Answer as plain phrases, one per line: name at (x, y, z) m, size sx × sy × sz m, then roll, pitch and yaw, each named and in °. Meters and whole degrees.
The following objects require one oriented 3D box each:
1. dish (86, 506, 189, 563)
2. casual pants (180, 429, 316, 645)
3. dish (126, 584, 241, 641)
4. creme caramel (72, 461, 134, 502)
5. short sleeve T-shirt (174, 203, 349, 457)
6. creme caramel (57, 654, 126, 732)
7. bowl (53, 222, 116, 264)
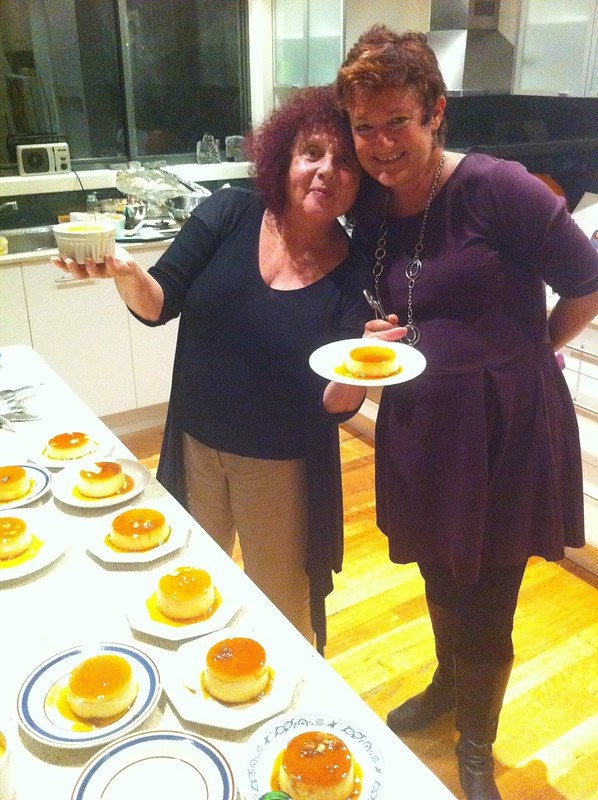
dish at (-0.295, 0.235, 1.149) m, size 0.168 × 0.020 × 0.177 m, roll -7°, pitch 33°, yaw -16°
casual pants at (-0.098, 0.262, 1.300) m, size 0.273 × 0.629 × 0.166 m, roll 27°, pitch 54°, yaw 26°
dish at (-0.179, 0.304, 0.927) m, size 0.081 × 0.012 × 0.078 m, roll 11°, pitch 22°, yaw 26°
creme caramel at (-0.396, 0.160, 1.280) m, size 0.079 × 0.026 × 0.081 m, roll 8°, pitch 27°, yaw 9°
short sleeve T-shirt at (-0.071, -0.148, 1.355) m, size 0.403 × 0.384 × 0.228 m, roll 30°, pitch 33°, yaw 27°
creme caramel at (-0.247, 0.349, 0.773) m, size 0.087 × 0.046 × 0.089 m, roll -10°, pitch 18°, yaw -34°
bowl at (-0.407, -0.311, 1.207) m, size 0.091 × 0.052 × 0.094 m, roll 0°, pitch 26°, yaw 0°
